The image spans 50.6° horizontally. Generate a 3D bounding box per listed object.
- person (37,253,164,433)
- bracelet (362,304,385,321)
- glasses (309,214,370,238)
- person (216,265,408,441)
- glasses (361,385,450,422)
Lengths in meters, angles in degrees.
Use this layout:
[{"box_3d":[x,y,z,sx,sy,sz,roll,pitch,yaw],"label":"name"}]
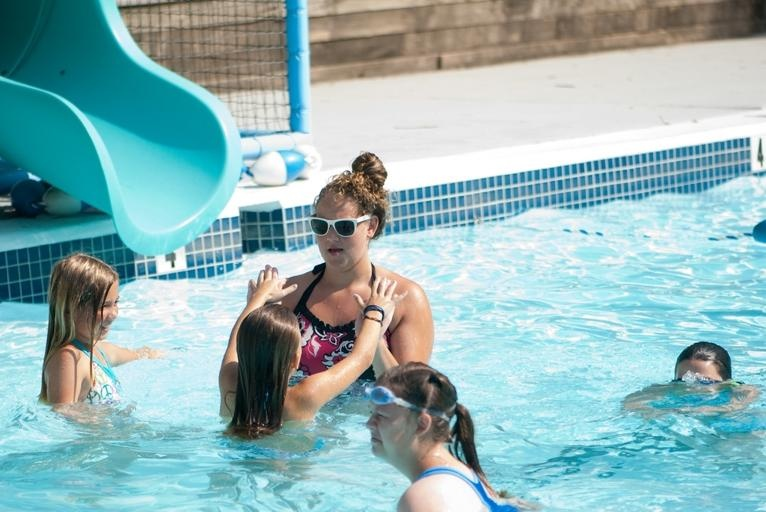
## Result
[{"box_3d":[-1.481,0.409,3.984,0.387,0.825,0.213,-10,14,-29],"label":"person"},{"box_3d":[-0.043,0.259,3.810,0.075,0.071,0.032,2,-24,4],"label":"bracelet"},{"box_3d":[-0.206,-0.146,3.945,0.293,0.102,0.101,-3,11,-3],"label":"glasses"},{"box_3d":[-0.380,0.476,3.844,0.815,0.657,0.519,-5,12,-13],"label":"person"},{"box_3d":[0.082,0.577,3.221,0.255,0.062,0.156,13,-5,4],"label":"glasses"}]
